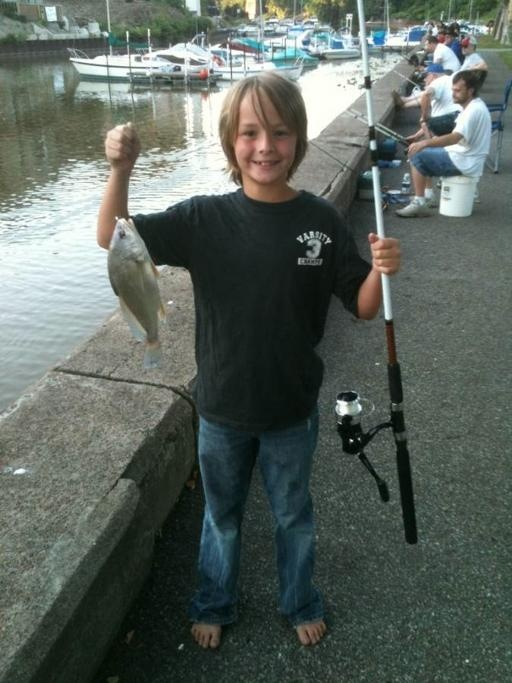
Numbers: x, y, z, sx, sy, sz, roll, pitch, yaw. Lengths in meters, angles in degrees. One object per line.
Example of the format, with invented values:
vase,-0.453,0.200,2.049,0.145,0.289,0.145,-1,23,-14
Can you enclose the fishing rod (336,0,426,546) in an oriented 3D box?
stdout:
fishing rod,0.522,-0.097,2.301,0.358,2.327,0.279,-3,3,-26

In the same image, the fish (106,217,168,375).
fish,-0.354,-0.123,1.668,0.139,0.507,0.202,-8,29,-10

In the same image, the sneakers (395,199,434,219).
sneakers,2.203,-1.868,7.774,0.574,0.267,0.198,-1,39,1

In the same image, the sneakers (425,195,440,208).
sneakers,2.566,-2.059,8.187,0.200,0.235,0.582,-3,12,17

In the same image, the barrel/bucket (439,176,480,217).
barrel/bucket,2.752,-2.063,7.880,0.542,0.538,0.522,-1,24,1

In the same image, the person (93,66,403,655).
person,0.029,0.155,2.007,0.862,2.005,0.713,-18,32,-27
